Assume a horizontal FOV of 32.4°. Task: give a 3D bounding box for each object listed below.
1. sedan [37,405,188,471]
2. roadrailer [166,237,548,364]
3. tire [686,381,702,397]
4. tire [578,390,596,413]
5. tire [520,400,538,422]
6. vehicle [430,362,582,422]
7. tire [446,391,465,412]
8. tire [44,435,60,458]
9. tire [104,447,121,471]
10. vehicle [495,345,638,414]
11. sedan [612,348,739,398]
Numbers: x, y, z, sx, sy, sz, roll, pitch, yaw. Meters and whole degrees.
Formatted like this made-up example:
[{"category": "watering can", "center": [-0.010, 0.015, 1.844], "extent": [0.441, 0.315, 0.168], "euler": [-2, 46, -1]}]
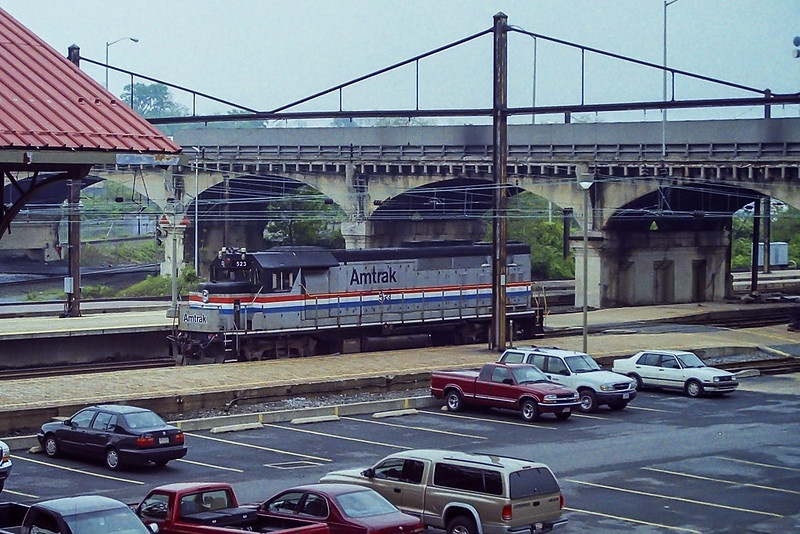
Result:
[{"category": "sedan", "center": [-10.743, 6.231, 51.000], "extent": [4.862, 1.616, 2.237], "euler": [7, 4, 31]}, {"category": "roadrailer", "center": [-2.808, 1.790, 72.510], "extent": [22.597, 6.482, 6.694], "euler": [1, -1, -33]}, {"category": "tire", "center": [13.025, 5.411, 60.724], "extent": [0.248, 0.624, 0.634], "euler": [3, -12, -35]}, {"category": "tire", "center": [7.866, 5.633, 57.759], "extent": [0.893, 0.872, 0.316], "euler": [-8, -2, 27]}, {"category": "tire", "center": [5.293, 5.879, 56.071], "extent": [0.739, 0.727, 0.264], "euler": [-22, -11, 38]}, {"category": "vehicle", "center": [4.458, 5.164, 57.273], "extent": [5.217, 1.783, 2.440], "euler": [0, 0, 33]}, {"category": "tire", "center": [2.350, 5.651, 57.628], "extent": [0.693, 0.683, 0.249], "euler": [-30, -18, 32]}, {"category": "tire", "center": [-12.999, 6.710, 51.392], "extent": [0.887, 0.870, 0.320], "euler": [-1, 1, 37]}, {"category": "tire", "center": [-10.490, 7.027, 50.301], "extent": [0.892, 0.871, 0.321], "euler": [2, 0, 24]}, {"category": "vehicle", "center": [7.167, 4.745, 58.884], "extent": [5.369, 2.192, 2.679], "euler": [2, 2, 31]}, {"category": "sedan", "center": [12.377, 4.734, 61.503], "extent": [4.601, 1.573, 2.240], "euler": [0, 0, 37]}]
